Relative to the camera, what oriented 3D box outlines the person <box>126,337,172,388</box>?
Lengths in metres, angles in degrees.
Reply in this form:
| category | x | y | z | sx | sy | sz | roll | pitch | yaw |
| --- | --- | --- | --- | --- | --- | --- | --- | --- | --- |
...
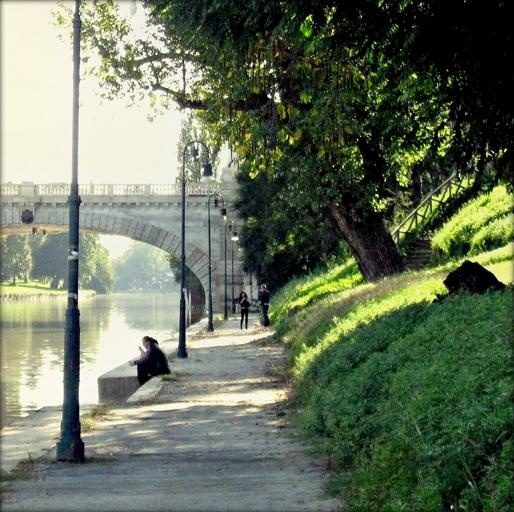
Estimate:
| category | x | y | z | sx | sy | sz | roll | pitch | yaw |
| --- | --- | --- | --- | --- | --- | --- | --- | --- | --- |
| person | -2.359 | 2.362 | 27.331 | 0.782 | 1.185 | 0.579 | 0 | -3 | -1 |
